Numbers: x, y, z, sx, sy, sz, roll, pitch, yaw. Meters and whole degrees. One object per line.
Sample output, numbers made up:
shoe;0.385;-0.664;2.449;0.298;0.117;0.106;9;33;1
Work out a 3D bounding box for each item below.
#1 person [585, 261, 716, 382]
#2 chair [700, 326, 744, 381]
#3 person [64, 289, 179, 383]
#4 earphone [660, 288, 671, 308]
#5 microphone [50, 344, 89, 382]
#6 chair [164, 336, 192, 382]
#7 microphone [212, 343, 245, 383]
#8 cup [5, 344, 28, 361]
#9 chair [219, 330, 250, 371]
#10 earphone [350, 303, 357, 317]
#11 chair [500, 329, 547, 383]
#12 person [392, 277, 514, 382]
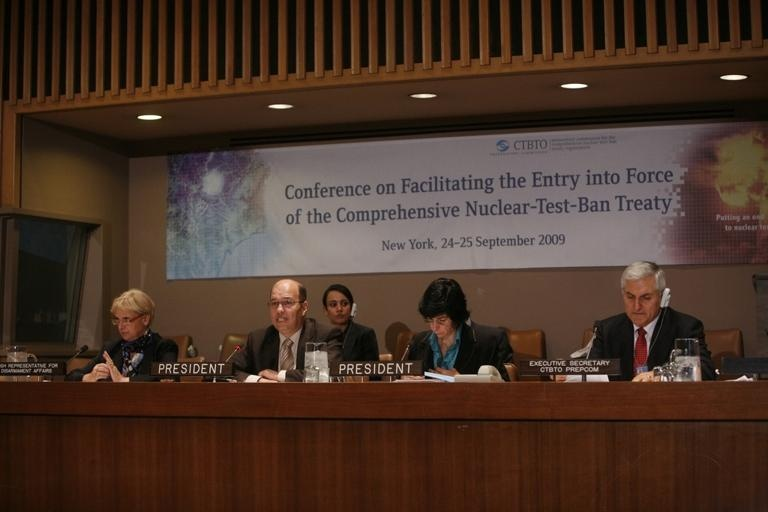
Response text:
person;1.826;0.436;6.126;0.494;0.807;0.421;-10;-27;35
chair;2.197;0.643;5.972;0.228;0.367;0.293;-4;-20;14
person;-1.723;0.608;6.133;0.780;0.739;0.467;-2;-2;26
earphone;1.831;0.274;5.981;0.089;0.138;0.044;6;31;24
microphone;-2.324;0.796;6.763;0.277;0.211;0.548;-1;-4;2
chair;-1.351;0.682;6.024;0.153;0.242;0.194;-4;-29;5
microphone;-1.019;0.709;6.090;0.193;0.220;0.051;-4;-18;23
cup;-2.264;0.603;5.669;0.115;0.115;0.092;2;-9;-17
chair;-1.091;0.699;6.747;0.217;0.347;0.274;1;-16;4
earphone;-0.248;0.448;7.536;0.023;0.093;0.095;8;-2;4
chair;1.126;0.846;7.123;0.322;0.487;0.387;2;-5;-2
person;0.472;0.581;6.264;0.809;0.892;0.517;1;8;28
